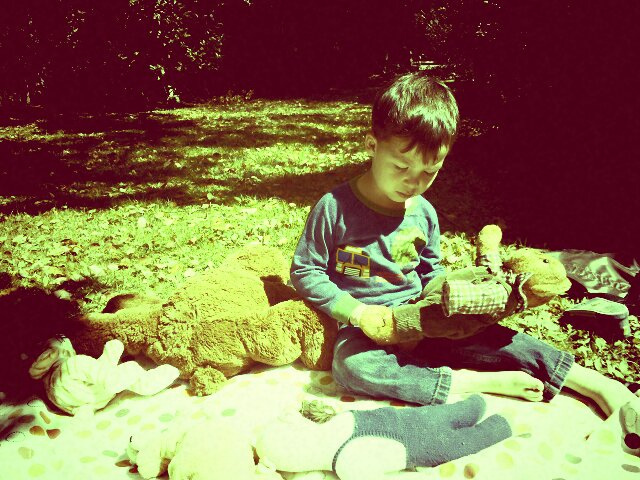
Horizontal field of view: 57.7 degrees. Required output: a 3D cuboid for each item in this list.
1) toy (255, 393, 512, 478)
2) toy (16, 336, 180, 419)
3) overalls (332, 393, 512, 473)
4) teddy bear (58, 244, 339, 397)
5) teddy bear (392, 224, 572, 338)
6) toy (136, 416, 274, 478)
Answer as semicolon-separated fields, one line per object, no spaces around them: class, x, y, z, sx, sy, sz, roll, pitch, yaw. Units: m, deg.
toy;0.346;1.076;3.155;1.370;0.325;0.365;5;29;-11
toy;-1.326;0.788;3.496;0.793;0.340;0.430;12;-3;15
overalls;0.562;1.063;3.149;0.808;0.162;0.392;0;15;-18
teddy bear;-0.679;0.300;3.531;1.076;0.352;1.045;-12;17;-41
teddy bear;0.927;0.376;3.385;0.803;0.306;0.715;-15;23;13
toy;-0.649;1.088;3.025;0.448;0.129;0.402;13;29;23
